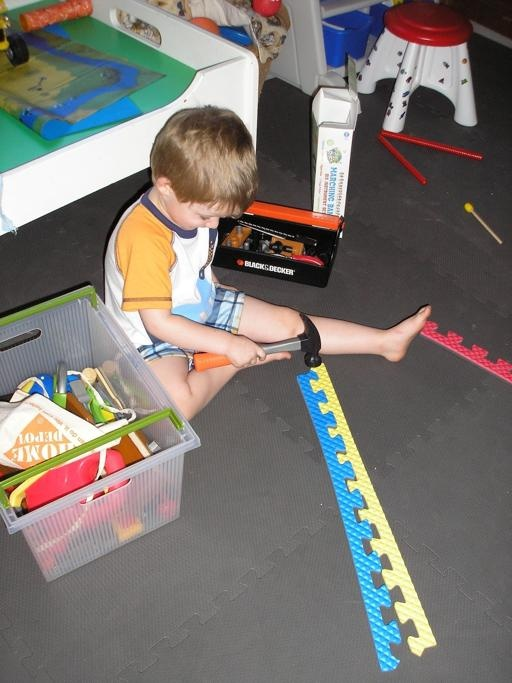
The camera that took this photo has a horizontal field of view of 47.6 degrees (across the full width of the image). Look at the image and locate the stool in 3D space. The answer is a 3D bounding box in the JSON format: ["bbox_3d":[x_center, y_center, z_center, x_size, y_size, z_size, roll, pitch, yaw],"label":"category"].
[{"bbox_3d":[0.562,-0.907,1.916,0.347,0.341,0.344,-9,45,-8],"label":"stool"}]

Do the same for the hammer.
[{"bbox_3d":[0.010,0.026,1.050,0.235,0.082,0.096,-12,22,-18],"label":"hammer"}]
